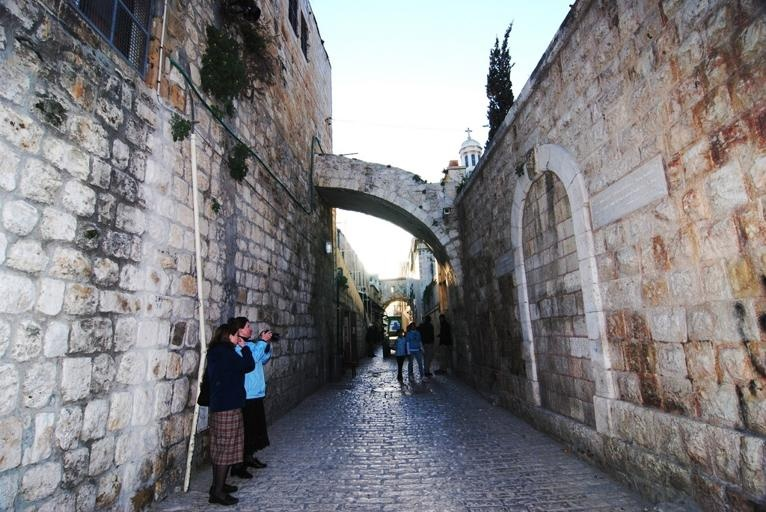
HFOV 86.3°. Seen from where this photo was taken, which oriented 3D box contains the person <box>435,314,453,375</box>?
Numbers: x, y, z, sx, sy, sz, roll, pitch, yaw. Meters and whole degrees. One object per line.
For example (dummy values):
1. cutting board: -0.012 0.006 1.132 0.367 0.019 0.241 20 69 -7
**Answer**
1. person: 1.872 2.599 12.412 0.451 1.700 1.421 -3 -6 8
